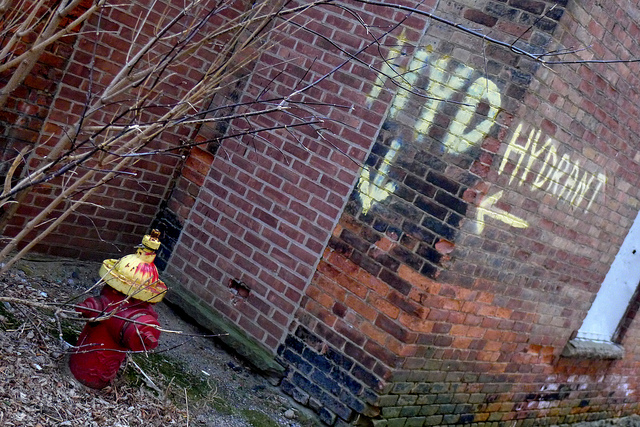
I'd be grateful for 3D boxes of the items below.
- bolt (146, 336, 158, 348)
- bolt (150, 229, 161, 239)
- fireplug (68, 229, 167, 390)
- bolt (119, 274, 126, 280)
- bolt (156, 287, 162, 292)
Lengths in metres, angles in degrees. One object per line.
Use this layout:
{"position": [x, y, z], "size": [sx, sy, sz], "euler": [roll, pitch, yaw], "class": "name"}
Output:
{"position": [-1.217, 0.938, 3.937], "size": [0.077, 0.074, 0.057], "euler": [4, 12, -40], "class": "bolt"}
{"position": [-1.274, 0.156, 4.212], "size": [0.071, 0.059, 0.078], "euler": [22, -5, 24], "class": "bolt"}
{"position": [-1.466, 0.721, 4.056], "size": [0.609, 1.057, 0.584], "euler": [24, 7, -18], "class": "fireplug"}
{"position": [-1.476, 0.475, 4.050], "size": [0.099, 0.025, 0.017], "euler": [4, 4, 16], "class": "bolt"}
{"position": [-1.235, 0.579, 4.157], "size": [0.022, 0.016, 0.084], "euler": [-8, 3, -3], "class": "bolt"}
